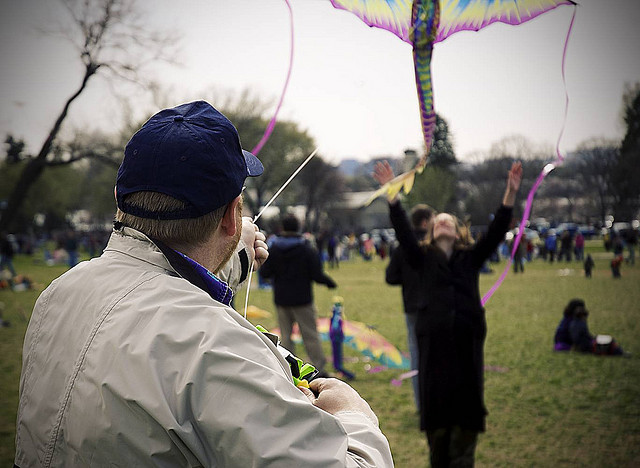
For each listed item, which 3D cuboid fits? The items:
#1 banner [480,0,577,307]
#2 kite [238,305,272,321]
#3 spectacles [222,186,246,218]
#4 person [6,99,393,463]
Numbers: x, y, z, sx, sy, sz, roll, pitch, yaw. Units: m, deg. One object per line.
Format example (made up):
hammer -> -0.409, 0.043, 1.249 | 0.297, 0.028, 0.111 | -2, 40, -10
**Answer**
banner -> 1.010, -0.218, 3.838 | 0.098, 1.564, 0.248 | -7, 30, -40
kite -> -0.947, 1.274, 12.622 | 0.396, 0.145, 0.709 | 7, -3, -4
spectacles -> -0.372, -0.136, 3.441 | 0.028, 0.199, 0.029 | 28, 6, -29
person -> -0.545, 0.249, 3.340 | 1.442, 1.148, 0.396 | 6, -3, 4
